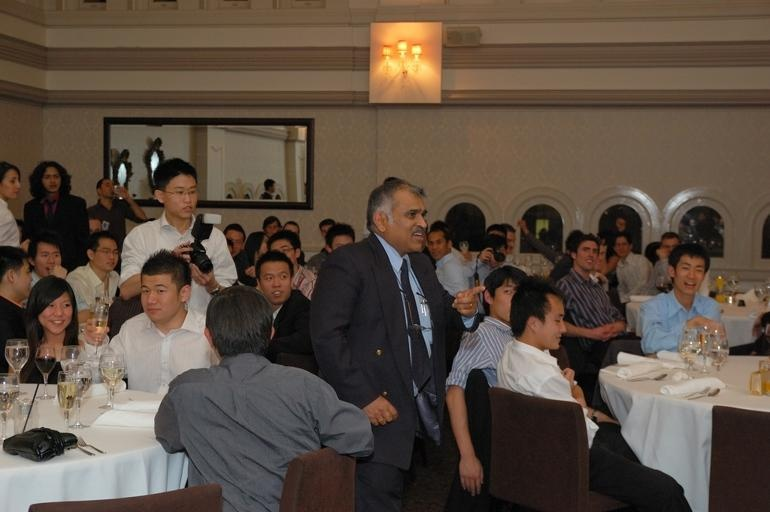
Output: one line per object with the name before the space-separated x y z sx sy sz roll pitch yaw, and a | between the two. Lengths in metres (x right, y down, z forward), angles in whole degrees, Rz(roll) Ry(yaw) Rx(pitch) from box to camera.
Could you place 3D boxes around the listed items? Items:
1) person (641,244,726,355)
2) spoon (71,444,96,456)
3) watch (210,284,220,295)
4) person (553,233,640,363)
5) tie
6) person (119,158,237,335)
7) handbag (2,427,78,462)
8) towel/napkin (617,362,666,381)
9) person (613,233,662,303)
person | 2.173 0.358 5.095 0.593 0.895 0.553 1 2 -18
spoon | -1.489 0.962 3.456 0.176 0.028 0.047 9 21 44
watch | -1.118 0.219 4.575 0.055 0.021 0.048 -45 0 -4
person | 1.889 0.479 6.029 0.720 1.298 0.684 -8 -2 44
tie | 0.148 0.435 3.924 0.207 1.113 0.133 -20 49 -13
person | -1.425 0.010 4.944 0.804 1.456 0.744 -14 28 -43
handbag | -1.694 0.874 3.395 0.223 0.094 0.182 4 13 26
towel/napkin | 1.655 0.745 4.490 0.241 0.068 0.136 -3 12 -28
person | 3.085 0.159 8.615 0.461 0.858 0.525 -11 -10 38
